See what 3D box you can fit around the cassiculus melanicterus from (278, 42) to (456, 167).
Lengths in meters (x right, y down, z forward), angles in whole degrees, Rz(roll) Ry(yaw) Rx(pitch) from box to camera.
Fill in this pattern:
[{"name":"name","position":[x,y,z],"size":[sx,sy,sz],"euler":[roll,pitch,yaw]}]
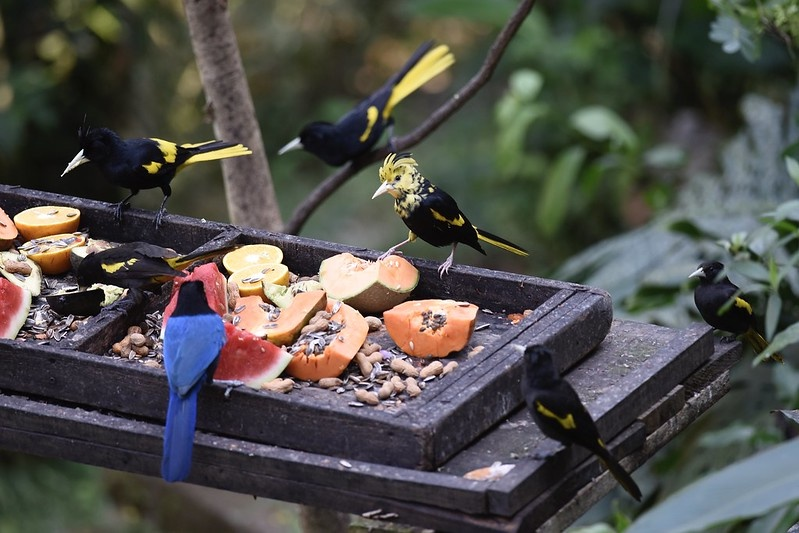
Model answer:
[{"name":"cassiculus melanicterus","position":[-0.202,-1.094,5.488],"size":[0.873,0.952,0.351],"euler":[13,25,-12]}]

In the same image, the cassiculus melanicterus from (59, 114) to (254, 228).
[{"name":"cassiculus melanicterus","position":[-1.390,-0.558,4.838],"size":[0.454,0.577,1.140],"euler":[17,26,41]}]

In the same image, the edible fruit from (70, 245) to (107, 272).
[{"name":"edible fruit","position":[-1.680,-0.067,4.433],"size":[0.152,0.094,0.152],"euler":[5,12,2]}]

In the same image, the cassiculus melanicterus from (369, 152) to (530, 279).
[{"name":"cassiculus melanicterus","position":[0.262,-0.278,4.326],"size":[0.862,0.586,0.293],"euler":[-1,10,-25]}]

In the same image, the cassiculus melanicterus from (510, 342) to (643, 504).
[{"name":"cassiculus melanicterus","position":[0.718,0.592,3.132],"size":[0.221,0.417,0.738],"euler":[-28,43,-21]}]

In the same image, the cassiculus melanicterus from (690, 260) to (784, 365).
[{"name":"cassiculus melanicterus","position":[1.731,0.232,4.334],"size":[0.572,0.578,0.280],"euler":[-9,10,-29]}]
